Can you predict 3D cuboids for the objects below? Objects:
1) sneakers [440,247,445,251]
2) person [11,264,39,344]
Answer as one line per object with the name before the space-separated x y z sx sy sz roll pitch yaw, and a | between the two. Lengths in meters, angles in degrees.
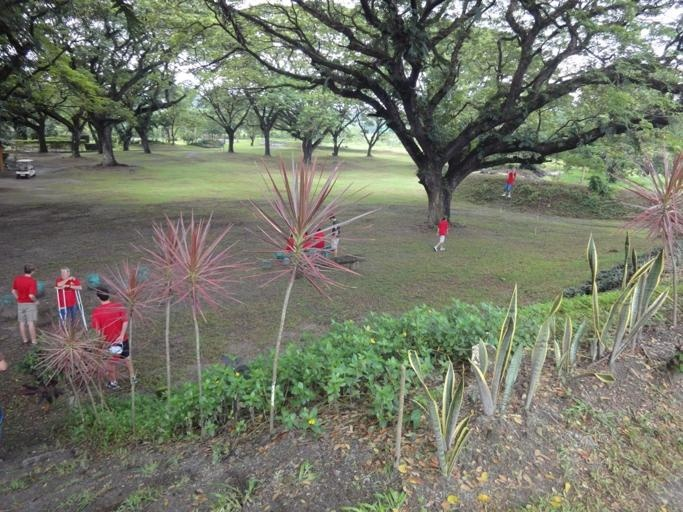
sneakers | 3.963 -0.244 15.573 0.169 0.157 0.163 -8 -2 11
person | -6.504 0.988 8.206 0.390 1.662 0.701 -10 18 -39
